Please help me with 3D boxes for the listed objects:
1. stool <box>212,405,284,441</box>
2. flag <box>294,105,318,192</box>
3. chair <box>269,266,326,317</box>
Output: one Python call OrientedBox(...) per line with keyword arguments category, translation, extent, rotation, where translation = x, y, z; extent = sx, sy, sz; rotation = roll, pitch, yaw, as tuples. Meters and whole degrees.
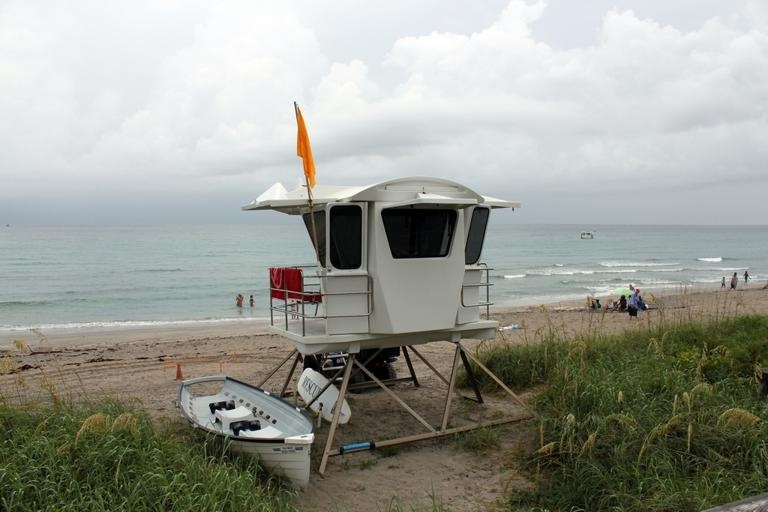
OrientedBox(category="stool", translation=(-2.865, 3.421, 11.816), extent=(0.607, 0.194, 1.178), rotation=(5, 1, -38))
OrientedBox(category="flag", translation=(-1.582, -2.142, 11.570), extent=(0.299, 1.578, 1.488), rotation=(-3, 4, -8))
OrientedBox(category="chair", translation=(-1.933, 0.695, 12.515), extent=(0.804, 0.964, 1.364), rotation=(-2, 4, -41))
